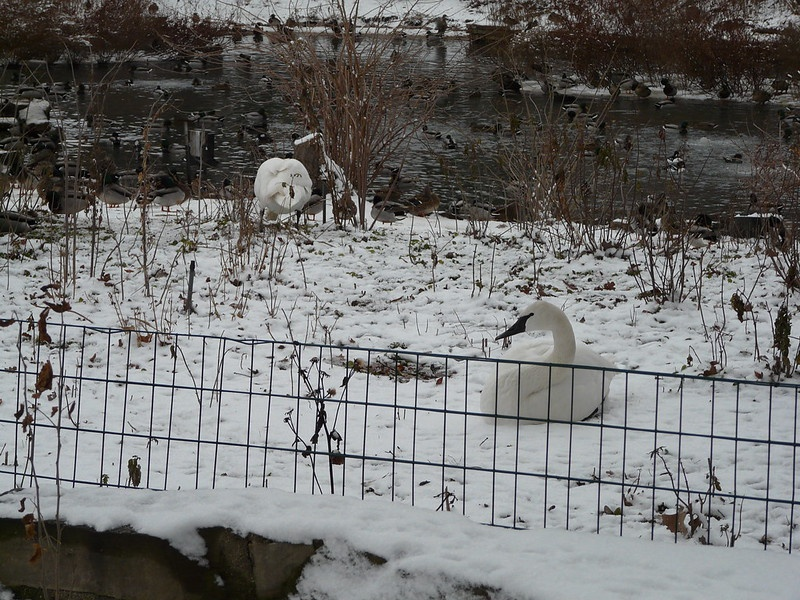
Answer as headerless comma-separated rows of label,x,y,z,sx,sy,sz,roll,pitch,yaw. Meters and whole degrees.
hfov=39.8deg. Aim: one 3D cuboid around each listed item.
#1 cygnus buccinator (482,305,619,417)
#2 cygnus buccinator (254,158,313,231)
cygnus buccinator,1.258,0.543,9.697,1.024,1.075,1.365,4,5,44
cygnus buccinator,-1.550,-1.447,14.402,0.644,0.813,0.785,2,4,24
